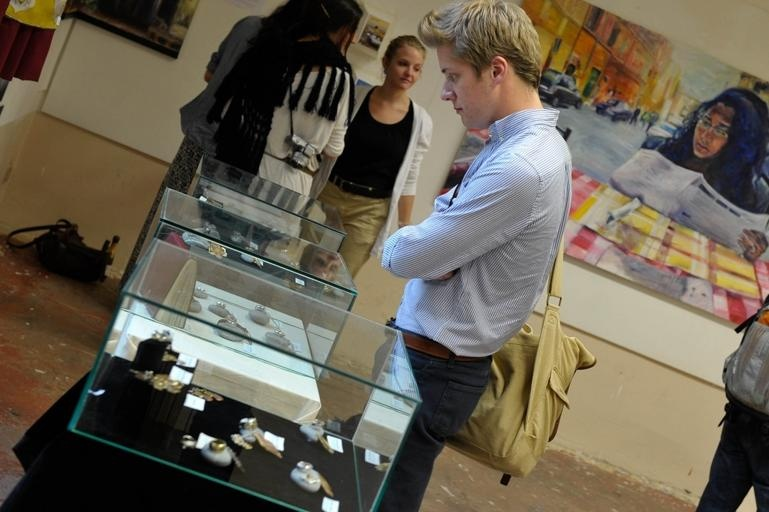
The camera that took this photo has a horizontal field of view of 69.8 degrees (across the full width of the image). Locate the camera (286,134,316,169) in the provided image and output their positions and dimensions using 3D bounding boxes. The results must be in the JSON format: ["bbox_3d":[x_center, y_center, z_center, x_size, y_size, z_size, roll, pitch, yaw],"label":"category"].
[{"bbox_3d":[-0.471,-0.611,3.228,0.196,0.081,0.149,46,-1,41],"label":"camera"}]

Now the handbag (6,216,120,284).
[{"bbox_3d":[-2.371,-0.076,4.135,0.733,0.337,0.455,17,23,-10],"label":"handbag"}]
